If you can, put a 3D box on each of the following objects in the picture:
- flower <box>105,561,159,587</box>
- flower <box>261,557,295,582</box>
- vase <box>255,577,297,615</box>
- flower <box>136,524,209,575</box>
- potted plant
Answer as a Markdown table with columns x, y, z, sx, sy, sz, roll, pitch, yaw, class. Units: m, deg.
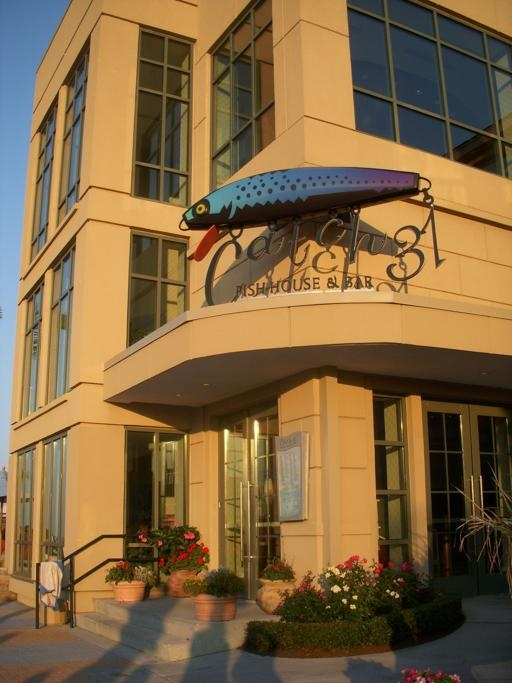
| x | y | z | sx | sy | sz | roll | pitch | yaw | class |
| --- | --- | --- | --- | --- | --- | --- | --- | --- | --- |
| -2.283 | 4.082 | 11.776 | 0.675 | 0.375 | 0.608 | 9 | -11 | -40 | flower |
| 0.358 | 3.180 | 9.258 | 0.339 | 0.220 | 0.333 | 12 | -14 | -34 | flower |
| 0.290 | 3.436 | 9.047 | 0.555 | 0.405 | 0.550 | 5 | -9 | -23 | vase |
| -1.437 | 3.908 | 12.556 | 1.096 | 0.679 | 1.008 | 6 | -18 | 11 | flower |
| -0.516 | 3.233 | 8.624 | 0.629 | 0.537 | 0.645 | -8 | -18 | 21 | potted plant |
